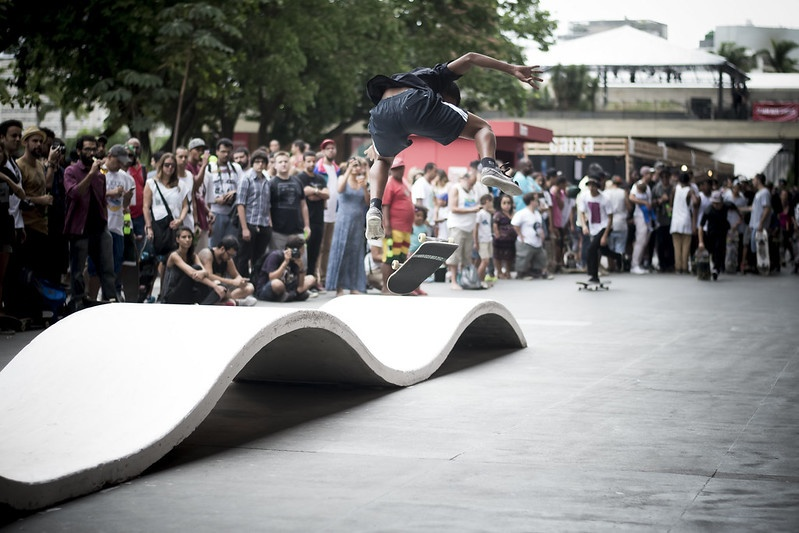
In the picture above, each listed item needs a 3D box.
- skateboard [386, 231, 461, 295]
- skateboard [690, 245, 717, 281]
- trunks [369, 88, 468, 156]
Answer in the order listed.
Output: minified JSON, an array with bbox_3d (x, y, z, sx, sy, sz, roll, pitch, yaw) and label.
[{"bbox_3d":[0.221,0.056,15.686,0.545,0.187,1.100,12,-40,-31],"label":"skateboard"},{"bbox_3d":[5.859,-0.048,22.330,0.375,0.593,0.373,-5,3,29],"label":"skateboard"},{"bbox_3d":[0.221,-1.673,13.902,1.158,0.862,0.485,1,12,3],"label":"trunks"}]
